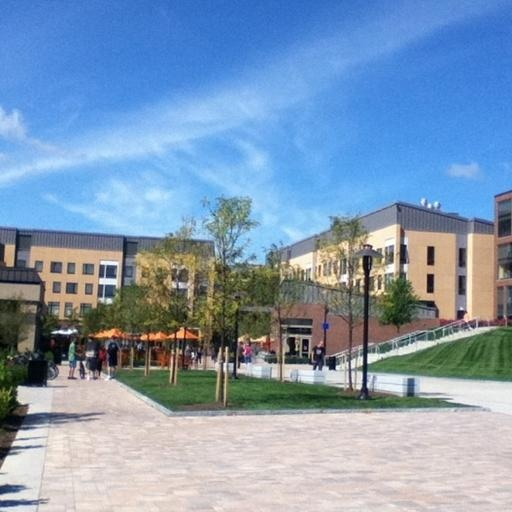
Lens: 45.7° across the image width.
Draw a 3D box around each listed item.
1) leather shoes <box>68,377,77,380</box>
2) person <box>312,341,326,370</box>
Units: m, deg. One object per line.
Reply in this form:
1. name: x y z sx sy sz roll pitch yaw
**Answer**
1. leather shoes: -7.754 5.168 25.601 0.297 0.145 0.160 -6 -7 32
2. person: 3.182 5.071 30.693 0.545 1.347 1.729 0 -10 5
